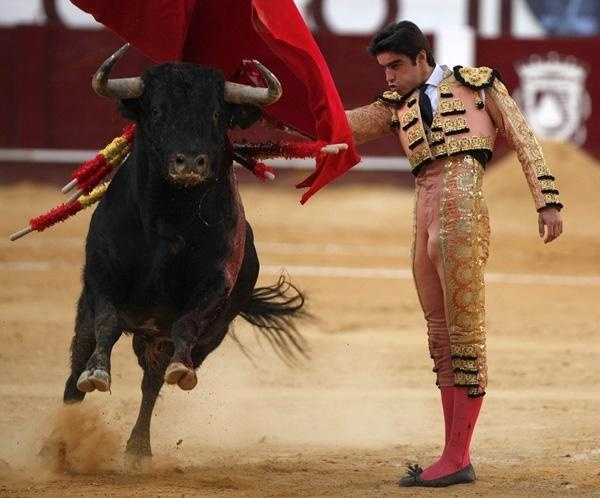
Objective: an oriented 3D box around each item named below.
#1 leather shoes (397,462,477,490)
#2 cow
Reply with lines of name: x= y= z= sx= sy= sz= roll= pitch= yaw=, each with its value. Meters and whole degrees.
leather shoes: x=0.525 y=0.871 z=4.374 sx=0.241 sy=0.067 sz=0.115 roll=2 pitch=-4 yaw=3
cow: x=-0.667 y=0.205 z=4.697 sx=0.670 sy=1.208 sz=2.223 roll=11 pitch=-30 yaw=-8
